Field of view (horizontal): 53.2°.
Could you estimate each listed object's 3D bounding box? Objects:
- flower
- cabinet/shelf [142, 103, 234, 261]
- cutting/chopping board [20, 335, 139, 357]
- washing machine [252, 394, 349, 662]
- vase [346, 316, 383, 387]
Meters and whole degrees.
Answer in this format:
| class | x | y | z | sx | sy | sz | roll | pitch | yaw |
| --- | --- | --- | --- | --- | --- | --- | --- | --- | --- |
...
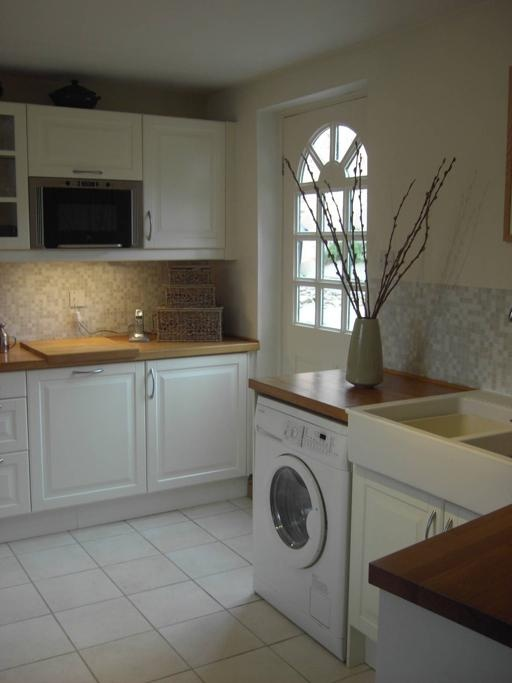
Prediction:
| class | x | y | z | sx | sy | sz | roll | pitch | yaw |
| --- | --- | --- | --- | --- | --- | --- | --- | --- | --- |
| flower | 0.676 | -0.530 | 2.817 | 0.707 | 0.983 | 0.822 | -7 | 13 | -44 |
| cabinet/shelf | -0.506 | -1.032 | 3.574 | 0.635 | 1.203 | 0.708 | 0 | 3 | -20 |
| cutting/chopping board | -1.094 | 0.038 | 3.145 | 0.648 | 0.084 | 0.679 | -2 | 5 | -28 |
| washing machine | 0.293 | 0.722 | 2.235 | 0.436 | 0.920 | 0.609 | -3 | 7 | -34 |
| vase | 0.484 | 0.047 | 2.270 | 0.148 | 0.312 | 0.164 | 0 | 10 | 5 |
